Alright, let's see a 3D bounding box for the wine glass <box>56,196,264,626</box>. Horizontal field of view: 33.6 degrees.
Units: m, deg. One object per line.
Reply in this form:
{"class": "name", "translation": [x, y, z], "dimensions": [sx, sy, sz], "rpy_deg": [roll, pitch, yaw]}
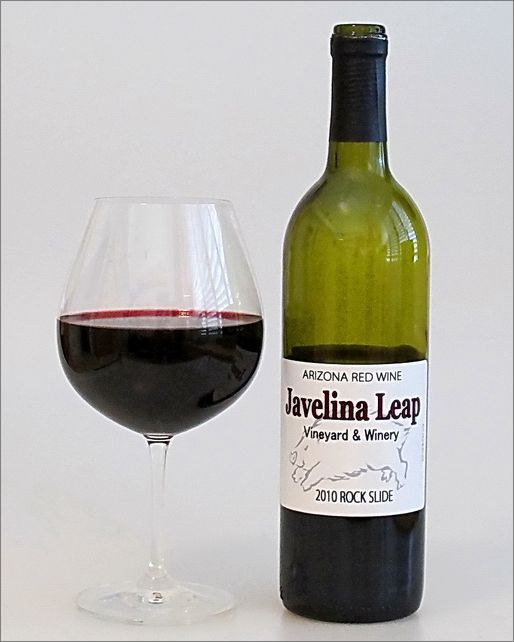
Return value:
{"class": "wine glass", "translation": [-0.144, 0.119, 1.147], "dimensions": [0.307, 0.576, 0.216], "rpy_deg": [-4, 4, 14]}
